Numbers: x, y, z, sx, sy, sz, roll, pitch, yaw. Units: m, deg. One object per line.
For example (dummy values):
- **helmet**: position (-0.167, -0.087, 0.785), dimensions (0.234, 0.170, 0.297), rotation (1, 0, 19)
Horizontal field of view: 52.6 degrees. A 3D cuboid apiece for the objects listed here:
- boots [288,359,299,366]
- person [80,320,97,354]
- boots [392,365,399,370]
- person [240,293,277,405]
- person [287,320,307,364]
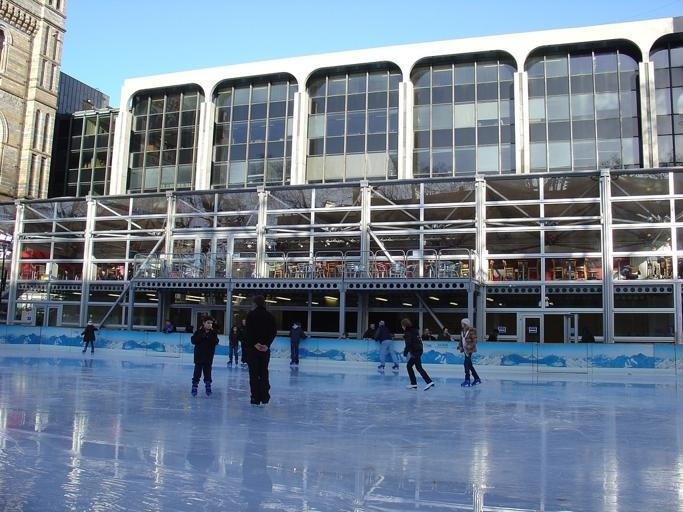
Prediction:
- **boots**: position (-1.987, 4.424, 29.107), dimensions (0.482, 0.411, 0.268), rotation (1, -10, -5)
- **person**: position (-11.837, 3.783, 32.344), dimensions (0.655, 1.347, 2.695), rotation (4, -3, -19)
- **boots**: position (2.123, 4.364, 27.177), dimensions (0.315, 0.232, 0.140), rotation (2, -3, 38)
- **person**: position (-1.855, 2.107, 15.519), dimensions (0.665, 2.434, 0.653), rotation (3, -3, -5)
- **person**: position (-1.877, 3.689, 29.211), dimensions (0.618, 1.683, 1.387), rotation (3, -3, -3)
